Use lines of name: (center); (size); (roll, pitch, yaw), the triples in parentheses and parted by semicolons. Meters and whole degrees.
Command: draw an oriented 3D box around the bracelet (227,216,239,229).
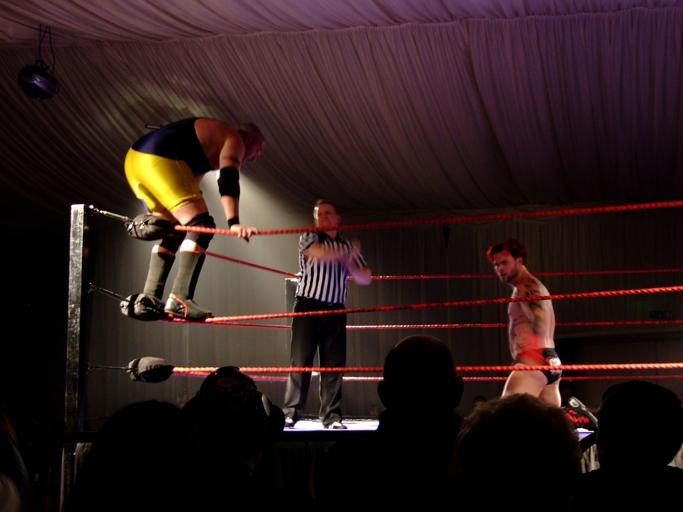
bracelet: (-0.633, -0.200, 3.983); (0.073, 0.068, 0.068); (-5, -9, 26)

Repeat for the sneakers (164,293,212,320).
sneakers: (-0.924, 0.325, 4.112); (0.327, 0.121, 0.129); (16, -50, -14)

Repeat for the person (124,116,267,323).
person: (-0.925, -0.271, 4.099); (0.819, 1.317, 0.537); (5, -12, -8)

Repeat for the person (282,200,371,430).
person: (-0.088, 0.393, 5.083); (0.577, 1.739, 0.574); (3, -12, 2)

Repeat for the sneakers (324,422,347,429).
sneakers: (-0.040, 1.202, 4.746); (0.201, 0.074, 0.069); (-1, -11, 5)

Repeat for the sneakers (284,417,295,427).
sneakers: (-0.355, 1.185, 4.785); (0.069, 0.056, 0.177); (3, -11, -4)
